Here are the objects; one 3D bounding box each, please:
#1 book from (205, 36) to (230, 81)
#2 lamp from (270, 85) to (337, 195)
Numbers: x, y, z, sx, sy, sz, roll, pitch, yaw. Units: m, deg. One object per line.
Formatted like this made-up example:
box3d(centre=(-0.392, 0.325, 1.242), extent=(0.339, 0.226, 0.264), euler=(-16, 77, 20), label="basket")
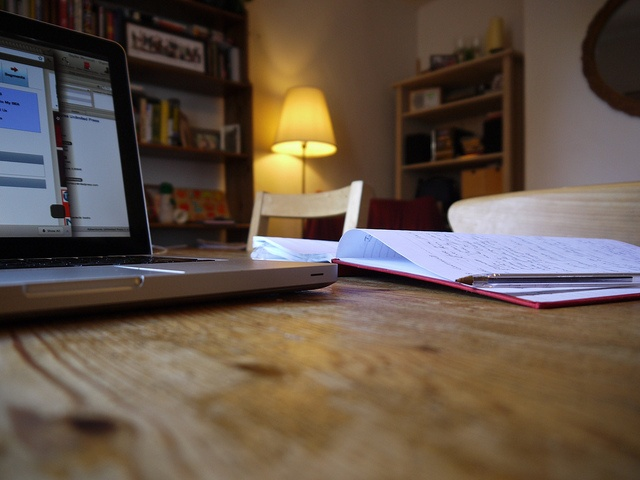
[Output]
box3d(centre=(-0.578, -0.975, 2.574), extent=(0.154, 0.219, 0.214), euler=(2, -1, -25), label="book")
box3d(centre=(-0.102, -0.535, 2.932), extent=(0.408, 0.834, 0.401), euler=(2, -2, -40), label="lamp")
